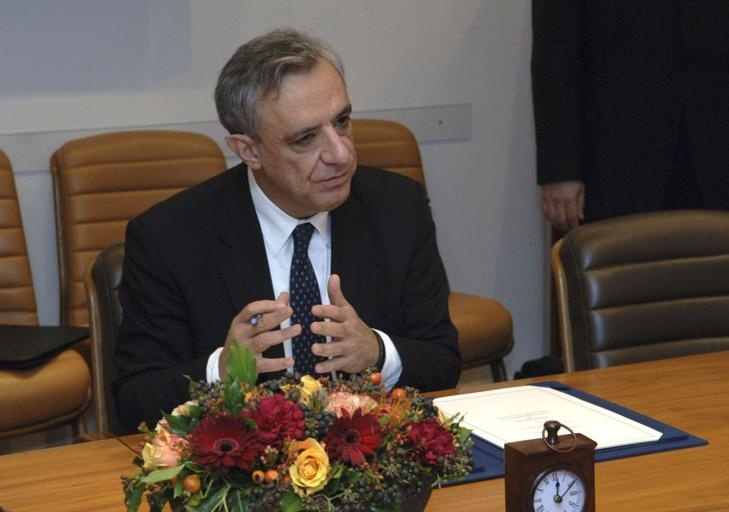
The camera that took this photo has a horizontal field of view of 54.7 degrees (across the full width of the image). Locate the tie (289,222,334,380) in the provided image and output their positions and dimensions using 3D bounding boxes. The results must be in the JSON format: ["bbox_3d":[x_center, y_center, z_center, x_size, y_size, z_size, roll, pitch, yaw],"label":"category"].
[{"bbox_3d":[-0.160,0.117,1.843,0.076,0.415,0.045,-1,-17,-2],"label":"tie"}]

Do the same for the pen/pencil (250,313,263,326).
[{"bbox_3d":[-0.230,0.135,1.488,0.019,0.027,0.009,13,-25,15],"label":"pen/pencil"}]

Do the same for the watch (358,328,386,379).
[{"bbox_3d":[0.022,0.231,1.637,0.029,0.100,0.082,1,-2,-37],"label":"watch"}]
